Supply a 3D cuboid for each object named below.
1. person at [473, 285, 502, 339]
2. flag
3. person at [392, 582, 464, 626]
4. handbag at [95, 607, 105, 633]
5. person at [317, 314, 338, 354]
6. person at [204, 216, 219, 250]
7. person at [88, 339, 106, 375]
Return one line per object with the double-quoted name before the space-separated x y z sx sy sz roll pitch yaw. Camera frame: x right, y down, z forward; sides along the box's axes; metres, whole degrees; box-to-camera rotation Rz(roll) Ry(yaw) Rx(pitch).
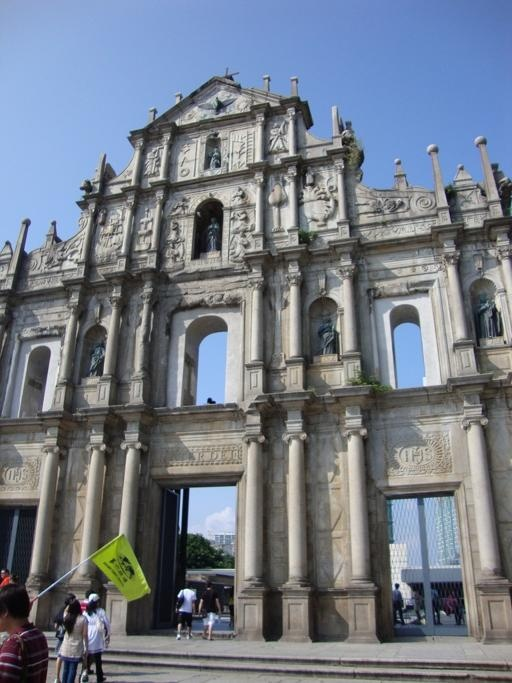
"person" 7.008 -0.912 17.019 0.788 2.023 0.427 -9 -27 18
"flag" -2.606 4.460 10.988 0.596 1.101 1.464 -5 -26 10
"person" 4.665 7.068 14.973 1.747 1.056 0.523 -8 -27 16
"handbag" -2.486 4.431 8.845 0.140 0.344 0.246 -4 -37 -11
"person" 2.345 -0.164 18.228 0.654 1.488 0.391 -3 -26 6
"person" -1.637 -4.077 21.538 0.486 2.003 0.629 2 -26 -3
"person" -5.897 0.635 20.659 0.344 1.619 0.780 19 -32 -33
